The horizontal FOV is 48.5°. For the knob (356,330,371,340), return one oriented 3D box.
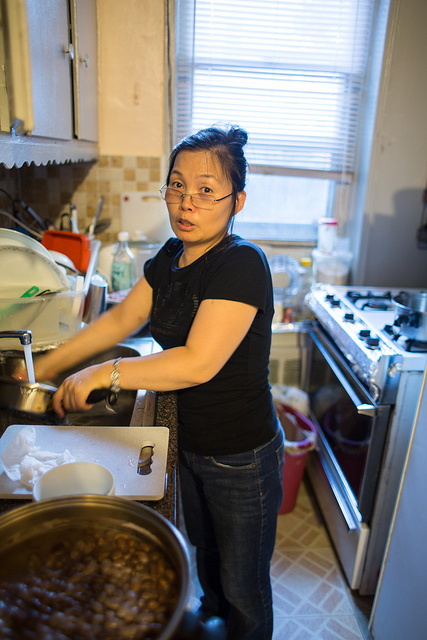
[{"bbox_3d":[0.467,0.043,1.493,0.038,0.028,0.067,4,10,7],"label":"knob"}]

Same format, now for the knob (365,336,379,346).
[{"bbox_3d":[0.467,0.064,1.425,0.029,0.022,0.041,-3,4,-28],"label":"knob"}]

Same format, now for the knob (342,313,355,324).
[{"bbox_3d":[0.464,-0.005,1.638,0.034,0.028,0.035,3,4,7],"label":"knob"}]

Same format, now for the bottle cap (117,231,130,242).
[{"bbox_3d":[-0.378,-0.350,1.995,0.039,0.040,0.038,-2,11,-25],"label":"bottle cap"}]

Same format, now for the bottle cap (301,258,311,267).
[{"bbox_3d":[0.445,-0.280,2.298,0.038,0.029,0.038,-1,5,-3],"label":"bottle cap"}]

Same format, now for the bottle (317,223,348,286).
[{"bbox_3d":[0.588,-0.328,2.348,0.164,0.298,0.090,-2,11,-21],"label":"bottle"}]

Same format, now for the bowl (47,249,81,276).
[{"bbox_3d":[-0.403,-0.155,1.294,0.060,0.059,0.104,3,10,2],"label":"bowl"}]
